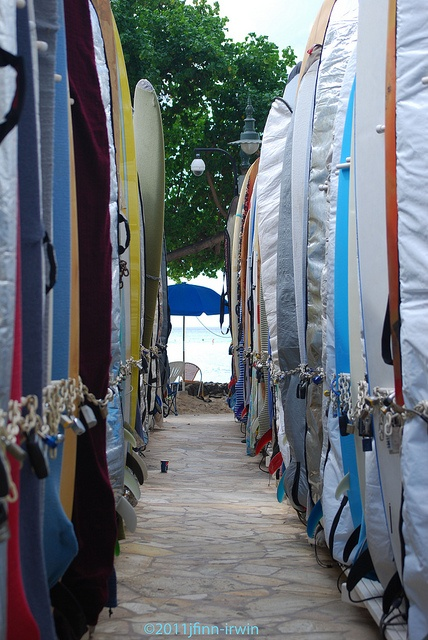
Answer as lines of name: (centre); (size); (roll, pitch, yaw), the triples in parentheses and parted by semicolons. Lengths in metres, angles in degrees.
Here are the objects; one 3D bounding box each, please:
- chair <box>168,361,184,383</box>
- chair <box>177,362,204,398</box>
chair: (-0.610, 0.835, 10.903); (0.209, 0.362, 0.675); (0, -3, -2)
chair: (-0.421, 1.130, 12.824); (0.421, 0.912, 0.551); (0, -5, -1)
